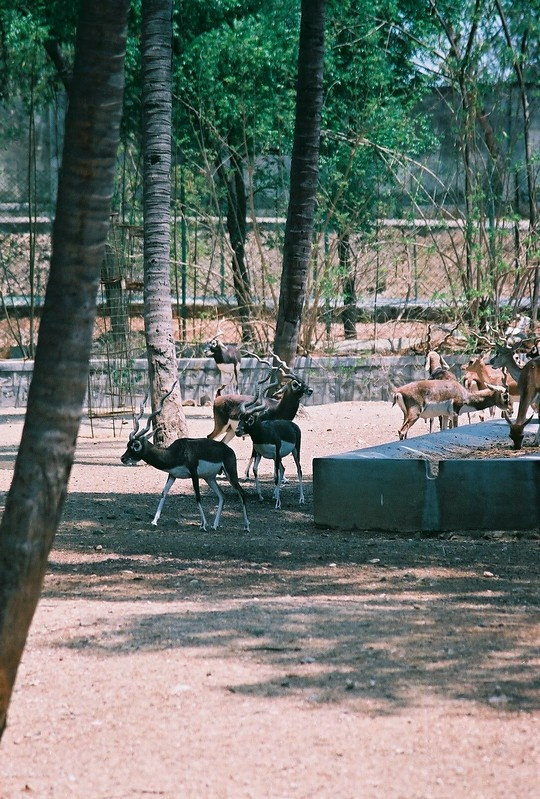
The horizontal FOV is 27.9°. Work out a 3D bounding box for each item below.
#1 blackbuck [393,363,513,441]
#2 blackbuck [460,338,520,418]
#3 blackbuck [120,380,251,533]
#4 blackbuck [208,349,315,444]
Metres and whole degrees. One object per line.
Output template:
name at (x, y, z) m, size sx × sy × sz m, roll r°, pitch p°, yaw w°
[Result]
blackbuck at (2.135, 0.165, 12.647) m, size 1.321 × 0.840 × 0.447 m, roll 0°, pitch -8°, yaw 7°
blackbuck at (2.977, -0.268, 14.523) m, size 1.084 × 1.049 × 0.533 m, roll 14°, pitch -13°, yaw -34°
blackbuck at (-0.624, 0.477, 8.163) m, size 1.000 × 1.059 × 0.376 m, roll 2°, pitch 3°, yaw -21°
blackbuck at (-0.099, 0.147, 11.070) m, size 1.189 × 1.305 × 0.428 m, roll -7°, pitch -13°, yaw 24°
